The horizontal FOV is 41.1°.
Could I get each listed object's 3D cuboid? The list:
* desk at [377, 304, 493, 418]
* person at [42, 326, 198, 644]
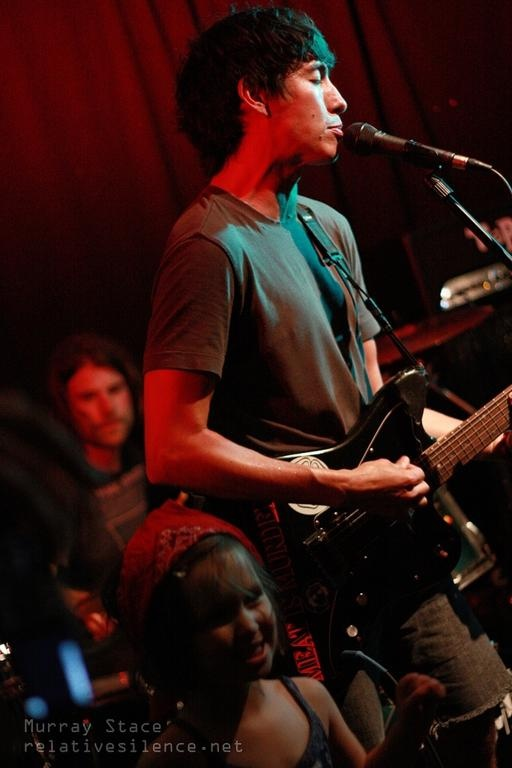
[{"bbox_3d":[0.653,-0.129,2.435,0.373,0.367,0.366,-26,23,23],"label":"desk"},{"bbox_3d":[-0.447,0.254,2.015,0.555,0.714,0.177,-1,-17,-40],"label":"person"}]
